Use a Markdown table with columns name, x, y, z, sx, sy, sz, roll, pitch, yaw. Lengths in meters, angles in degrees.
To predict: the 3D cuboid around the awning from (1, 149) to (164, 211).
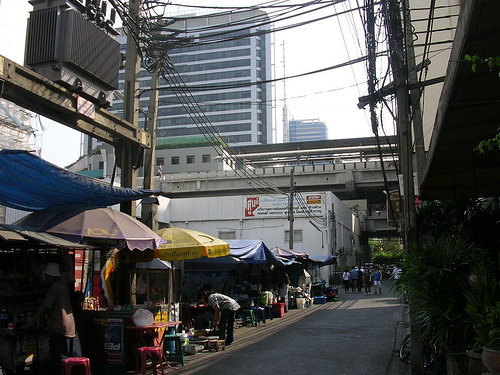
| name | x | y | z | sx | sy | sz | roll | pitch | yaw |
| --- | --- | --- | --- | --- | --- | --- | --- | --- | --- |
| awning | -4.428 | -0.119 | 14.680 | 3.389 | 0.722 | 3.160 | -6 | -14 | 2 |

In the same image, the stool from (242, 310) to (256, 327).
| name | x | y | z | sx | sy | sz | roll | pitch | yaw |
| --- | --- | --- | --- | --- | --- | --- | --- | --- | --- |
| stool | -0.051 | 4.787 | 23.379 | 0.543 | 0.616 | 0.602 | -3 | -7 | 7 |

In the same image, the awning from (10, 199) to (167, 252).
| name | x | y | z | sx | sy | sz | roll | pitch | yaw |
| --- | --- | --- | --- | --- | --- | --- | --- | --- | --- |
| awning | -4.609 | 0.983 | 15.551 | 3.020 | 1.009 | 3.160 | -14 | -10 | 43 |

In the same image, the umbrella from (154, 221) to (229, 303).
| name | x | y | z | sx | sy | sz | roll | pitch | yaw |
| --- | --- | --- | --- | --- | --- | --- | --- | --- | --- |
| umbrella | -1.660 | 1.941 | 17.533 | 1.846 | 1.579 | 1.973 | -12 | -16 | 42 |

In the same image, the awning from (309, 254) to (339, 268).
| name | x | y | z | sx | sy | sz | roll | pitch | yaw |
| --- | --- | --- | --- | --- | --- | --- | --- | --- | --- |
| awning | 4.427 | 4.195 | 37.344 | 1.265 | 0.533 | 1.466 | 1 | -7 | -8 |

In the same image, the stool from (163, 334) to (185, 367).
| name | x | y | z | sx | sy | sz | roll | pitch | yaw |
| --- | --- | --- | --- | --- | --- | --- | --- | --- | --- |
| stool | -1.934 | 4.135 | 16.417 | 0.524 | 0.878 | 0.630 | -2 | -23 | -2 |

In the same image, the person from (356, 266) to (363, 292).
| name | x | y | z | sx | sy | sz | roll | pitch | yaw |
| --- | --- | --- | --- | --- | --- | --- | --- | --- | --- |
| person | 7.226 | 6.051 | 42.350 | 0.453 | 1.704 | 1.730 | -7 | -13 | 13 |

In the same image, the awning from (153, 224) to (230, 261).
| name | x | y | z | sx | sy | sz | roll | pitch | yaw |
| --- | --- | --- | --- | --- | --- | --- | --- | --- | --- |
| awning | -1.547 | 1.585 | 17.420 | 1.155 | 0.480 | 1.193 | 19 | -19 | -26 |

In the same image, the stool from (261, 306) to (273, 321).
| name | x | y | z | sx | sy | sz | roll | pitch | yaw |
| --- | --- | --- | --- | --- | --- | --- | --- | --- | --- |
| stool | 0.716 | 4.930 | 25.513 | 0.516 | 0.652 | 0.574 | -1 | -22 | 0 |

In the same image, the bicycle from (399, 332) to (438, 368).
| name | x | y | z | sx | sy | sz | roll | pitch | yaw |
| --- | --- | --- | --- | --- | --- | --- | --- | --- | --- |
| bicycle | 3.950 | 3.857 | 15.252 | 0.587 | 0.774 | 1.944 | -5 | -14 | 3 |

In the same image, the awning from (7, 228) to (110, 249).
| name | x | y | z | sx | sy | sz | roll | pitch | yaw |
| --- | --- | --- | --- | --- | --- | --- | --- | --- | --- |
| awning | -4.390 | 1.197 | 14.748 | 0.641 | 0.334 | 2.304 | -12 | -16 | 25 |

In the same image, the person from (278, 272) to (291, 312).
| name | x | y | z | sx | sy | sz | roll | pitch | yaw |
| --- | --- | --- | --- | --- | --- | --- | --- | --- | --- |
| person | 1.537 | 4.726 | 28.787 | 0.509 | 1.650 | 1.863 | -4 | -13 | 2 |
